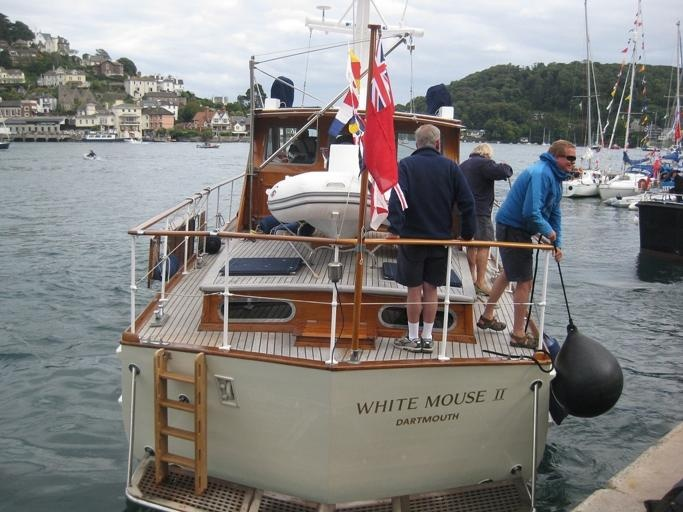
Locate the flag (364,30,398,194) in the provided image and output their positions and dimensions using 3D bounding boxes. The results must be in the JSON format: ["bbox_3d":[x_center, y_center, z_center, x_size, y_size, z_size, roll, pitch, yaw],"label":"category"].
[{"bbox_3d":[0.403,-1.414,6.876,0.355,1.527,0.242,1,8,5],"label":"flag"}]

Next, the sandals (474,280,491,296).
[{"bbox_3d":[1.891,0.439,9.039,0.325,0.158,0.112,7,12,43],"label":"sandals"}]

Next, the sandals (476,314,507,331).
[{"bbox_3d":[1.819,0.789,8.048,0.293,0.159,0.164,0,11,-1],"label":"sandals"}]

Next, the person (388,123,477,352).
[{"bbox_3d":[0.993,-0.204,7.503,0.937,2.449,0.532,-8,11,-41],"label":"person"}]

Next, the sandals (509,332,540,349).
[{"bbox_3d":[2.089,0.961,7.689,0.281,0.132,0.142,1,9,8],"label":"sandals"}]

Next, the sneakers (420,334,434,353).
[{"bbox_3d":[0.943,0.965,7.410,0.142,0.184,0.367,0,-6,3],"label":"sneakers"}]

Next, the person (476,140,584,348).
[{"bbox_3d":[2.188,-0.203,7.931,0.785,2.425,0.726,12,9,33],"label":"person"}]

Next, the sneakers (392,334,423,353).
[{"bbox_3d":[0.740,0.952,7.515,0.303,0.162,0.136,10,9,18],"label":"sneakers"}]

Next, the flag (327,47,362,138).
[{"bbox_3d":[0.112,-1.970,8.275,0.544,1.529,0.151,17,55,12],"label":"flag"}]
